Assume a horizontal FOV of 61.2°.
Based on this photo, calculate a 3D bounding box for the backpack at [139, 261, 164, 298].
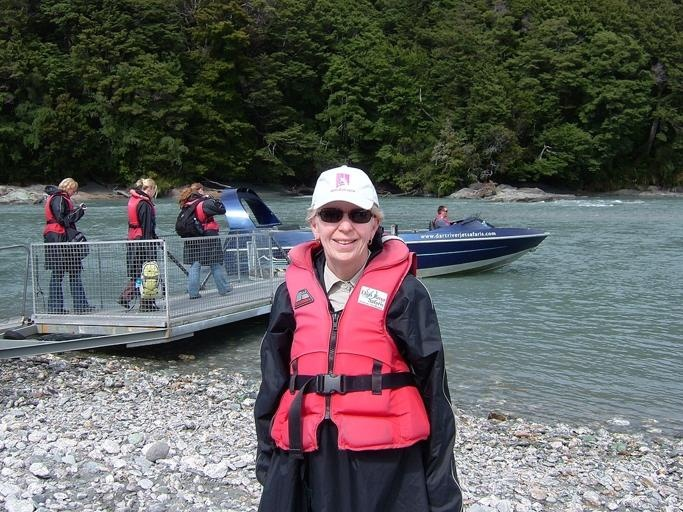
[{"bbox_3d":[-2.521,0.316,7.675,0.444,0.446,0.163,1,29,-6],"label":"backpack"}]

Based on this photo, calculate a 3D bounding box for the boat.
[{"bbox_3d":[1.285,-0.572,16.253,9.600,2.213,2.101,-1,1,-2],"label":"boat"}]

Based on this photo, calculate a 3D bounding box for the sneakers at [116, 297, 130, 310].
[{"bbox_3d":[-2.993,0.652,7.982,0.183,0.195,0.088,9,14,37],"label":"sneakers"}]

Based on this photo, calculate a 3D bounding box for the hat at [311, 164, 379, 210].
[{"bbox_3d":[0.010,-0.370,2.898,0.351,0.186,0.400,5,24,9],"label":"hat"}]
